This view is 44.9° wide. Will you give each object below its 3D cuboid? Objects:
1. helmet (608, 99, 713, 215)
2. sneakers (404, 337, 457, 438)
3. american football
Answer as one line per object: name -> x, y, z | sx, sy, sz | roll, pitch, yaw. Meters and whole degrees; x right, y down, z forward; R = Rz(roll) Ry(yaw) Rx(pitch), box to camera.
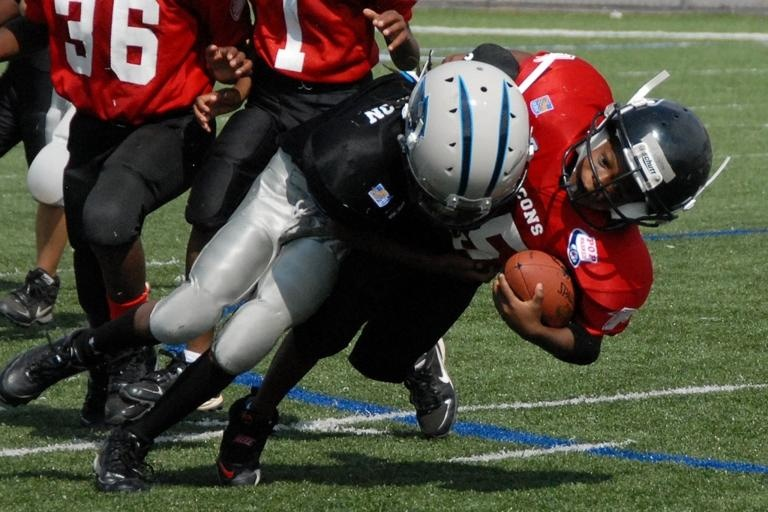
helmet -> 1.284, -0.432, 4.279 | 0.471, 0.422, 0.529 | -8, 28, 36
sneakers -> 0.225, 0.735, 5.052 | 0.212, 0.603, 0.255 | -28, -36, 31
american football -> 0.716, 0.133, 4.201 | 0.366, 0.214, 0.282 | 41, 27, -30
